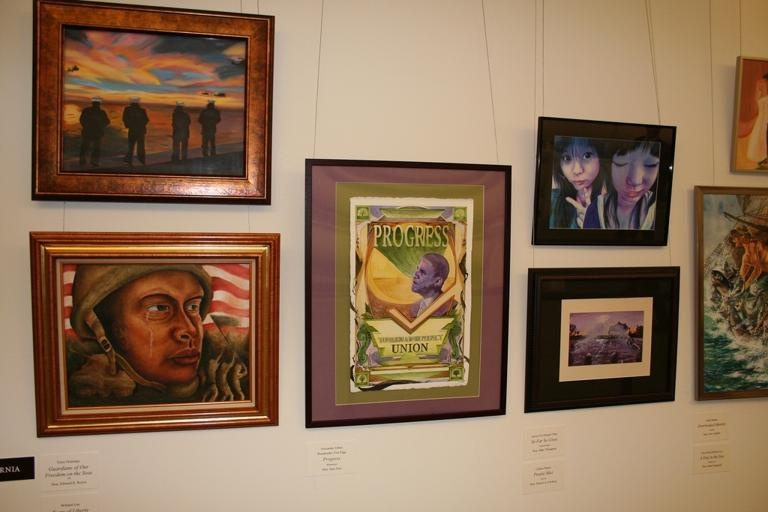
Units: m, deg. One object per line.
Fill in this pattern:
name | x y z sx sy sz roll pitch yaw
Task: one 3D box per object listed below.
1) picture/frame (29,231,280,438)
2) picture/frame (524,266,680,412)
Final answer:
picture/frame | -0.947 0.285 2.841 0.800 0.674 0.062 -1 3 -11
picture/frame | 0.906 0.336 3.081 0.623 0.525 0.042 1 0 -19
